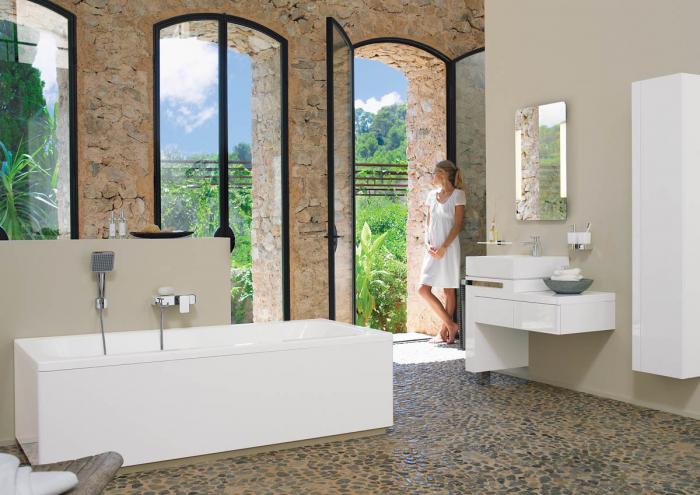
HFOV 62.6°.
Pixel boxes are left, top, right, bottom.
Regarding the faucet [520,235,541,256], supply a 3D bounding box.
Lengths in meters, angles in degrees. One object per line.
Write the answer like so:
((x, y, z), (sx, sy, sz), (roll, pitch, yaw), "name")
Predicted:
((1.525, -0.008, 4.832), (0.170, 0.168, 0.111), (-1, 2, -29), "faucet")

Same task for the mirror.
((1.587, -0.696, 4.804), (0.135, 0.984, 0.588), (-10, 15, -41), "mirror")

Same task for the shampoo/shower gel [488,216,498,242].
((1.284, -0.164, 5.138), (0.072, 0.211, 0.121), (2, 11, 6), "shampoo/shower gel")

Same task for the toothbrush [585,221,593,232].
((1.867, -0.160, 4.503), (0.041, 0.077, 0.057), (1, 11, 3), "toothbrush")

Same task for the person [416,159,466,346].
((1.016, 0.067, 6.378), (0.450, 1.996, 0.431), (3, 12, 11), "person")
